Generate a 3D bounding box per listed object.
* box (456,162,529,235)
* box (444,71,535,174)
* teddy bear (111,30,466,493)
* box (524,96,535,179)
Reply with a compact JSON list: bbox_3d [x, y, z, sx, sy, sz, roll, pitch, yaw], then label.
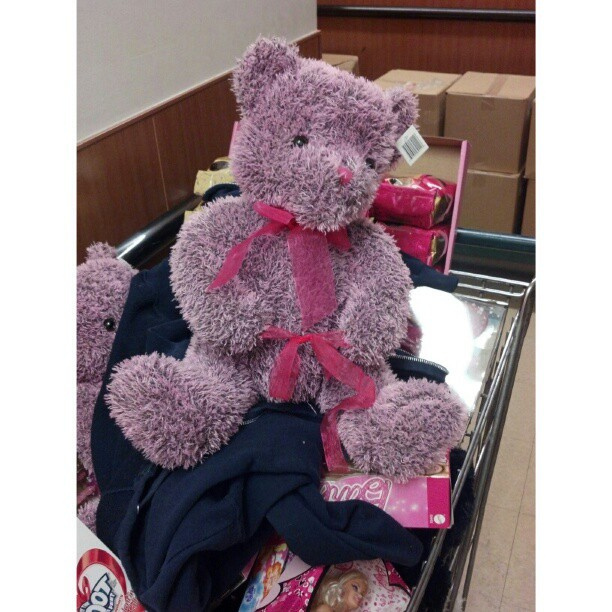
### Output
[{"bbox_3d":[0.766,-0.469,2.393,0.244,0.258,0.211,12,-4,9],"label":"box"},{"bbox_3d":[0.782,-0.816,2.336,0.340,0.338,0.391,6,50,21],"label":"box"},{"bbox_3d":[-0.019,-0.059,0.895,0.610,0.699,0.308,1,16,1],"label":"teddy bear"},{"bbox_3d":[0.886,-0.648,2.184,0.038,0.301,0.098,6,17,20],"label":"box"}]
